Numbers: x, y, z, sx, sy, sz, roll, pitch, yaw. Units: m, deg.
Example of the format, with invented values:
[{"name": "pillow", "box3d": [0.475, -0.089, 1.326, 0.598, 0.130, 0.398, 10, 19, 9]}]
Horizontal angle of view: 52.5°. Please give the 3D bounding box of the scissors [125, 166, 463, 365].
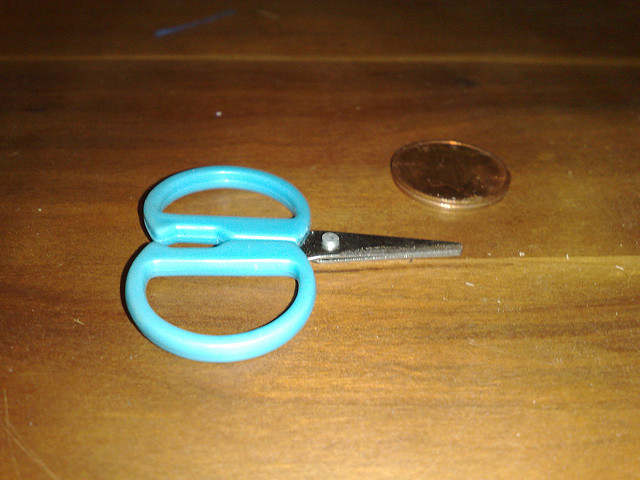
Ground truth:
[{"name": "scissors", "box3d": [-0.043, 0.033, 0.637, 0.316, 0.054, 0.227, 19, 57, 13]}]
